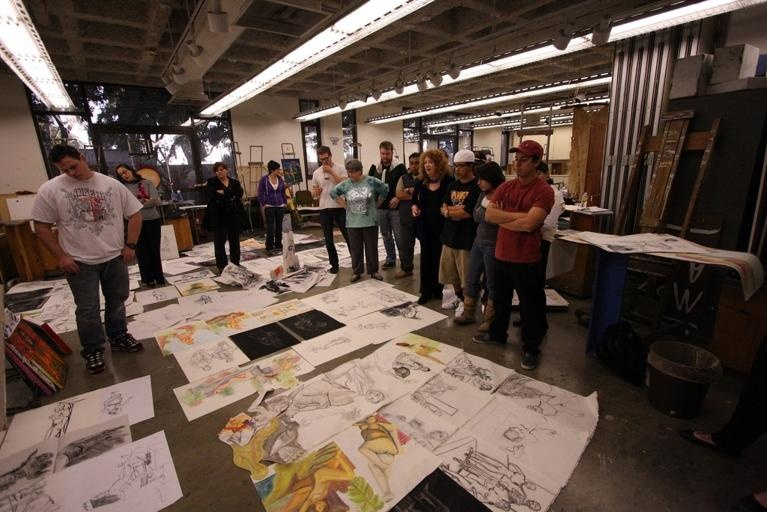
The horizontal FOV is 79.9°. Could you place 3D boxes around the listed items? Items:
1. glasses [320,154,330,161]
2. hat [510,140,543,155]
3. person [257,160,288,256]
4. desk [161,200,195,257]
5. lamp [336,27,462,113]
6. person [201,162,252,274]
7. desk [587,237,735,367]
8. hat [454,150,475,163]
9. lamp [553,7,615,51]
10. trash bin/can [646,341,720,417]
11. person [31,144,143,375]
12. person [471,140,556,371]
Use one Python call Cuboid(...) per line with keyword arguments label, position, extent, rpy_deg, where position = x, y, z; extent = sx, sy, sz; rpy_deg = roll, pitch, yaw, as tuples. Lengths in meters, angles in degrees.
Cuboid(label="glasses", position=(-0.892, -1.477, 6.910), extent=(0.165, 0.082, 0.136), rpy_deg=(-3, 17, 2))
Cuboid(label="hat", position=(1.465, -1.055, 4.610), extent=(0.291, 0.135, 0.195), rpy_deg=(5, 15, -13))
Cuboid(label="person", position=(-2.042, -0.915, 8.502), extent=(0.505, 1.649, 0.570), rpy_deg=(-8, 18, -14))
Cuboid(label="desk", position=(-3.944, -0.603, 8.884), extent=(0.523, 0.896, 1.354), rpy_deg=(-11, 18, -21))
Cuboid(label="lamp", position=(0.281, -3.051, 8.416), extent=(0.845, 0.517, 3.220), rpy_deg=(-14, 20, -32))
Cuboid(label="person", position=(-2.445, -0.600, 7.179), extent=(0.676, 1.675, 0.466), rpy_deg=(-16, 22, -34))
Cuboid(label="desk", position=(2.845, 0.432, 4.955), extent=(1.650, 1.135, 1.559), rpy_deg=(6, -5, -9))
Cuboid(label="hat", position=(0.926, -1.157, 5.264), extent=(0.185, 0.112, 0.170), rpy_deg=(6, 19, 12))
Cuboid(label="lamp", position=(2.589, -2.873, 5.959), extent=(0.717, 0.319, 0.402), rpy_deg=(4, 18, 22))
Cuboid(label="trash bin/can", position=(2.768, 1.129, 4.468), extent=(0.723, 0.601, 0.656), rpy_deg=(8, 16, 29))
Cuboid(label="person", position=(-3.092, -0.005, 4.968), extent=(0.923, 2.347, 0.613), rpy_deg=(-17, 22, -36))
Cuboid(label="person", position=(1.389, -0.012, 4.794), extent=(0.689, 2.289, 0.568), rpy_deg=(11, 23, 38))
